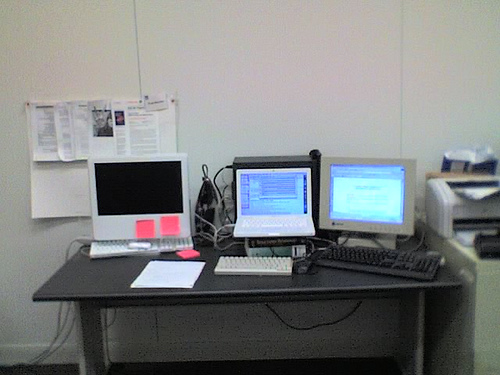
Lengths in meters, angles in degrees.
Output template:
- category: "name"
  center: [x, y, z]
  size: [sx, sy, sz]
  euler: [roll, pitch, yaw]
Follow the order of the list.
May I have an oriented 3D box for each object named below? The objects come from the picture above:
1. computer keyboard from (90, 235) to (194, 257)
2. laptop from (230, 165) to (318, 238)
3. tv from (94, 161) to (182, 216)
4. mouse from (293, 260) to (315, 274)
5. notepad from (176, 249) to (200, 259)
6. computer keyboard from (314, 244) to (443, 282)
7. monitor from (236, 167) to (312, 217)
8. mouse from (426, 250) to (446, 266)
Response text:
- category: "computer keyboard"
  center: [-0.628, 0.347, 2.531]
  size: [0.587, 0.079, 0.137]
  euler: [-3, 8, -5]
- category: "laptop"
  center: [0.137, 0.070, 2.416]
  size: [0.475, 0.323, 0.366]
  euler: [-2, 12, -5]
- category: "tv"
  center: [-0.646, 0.001, 2.538]
  size: [0.546, 0.392, 0.054]
  euler: [-2, 20, -13]
- category: "mouse"
  center: [0.278, 0.412, 2.270]
  size: [0.075, 0.051, 0.111]
  euler: [4, 10, 36]
- category: "notepad"
  center: [-0.355, 0.379, 2.492]
  size: [0.125, 0.029, 0.100]
  euler: [-6, 9, -29]
- category: "computer keyboard"
  center: [0.693, 0.384, 2.327]
  size: [0.647, 0.105, 0.311]
  euler: [0, 8, 19]
- category: "monitor"
  center: [0.138, 0.031, 2.516]
  size: [0.424, 0.275, 0.049]
  euler: [-2, 8, 2]
- category: "mouse"
  center: [0.996, 0.388, 2.312]
  size: [0.063, 0.037, 0.086]
  euler: [-17, 33, -31]
